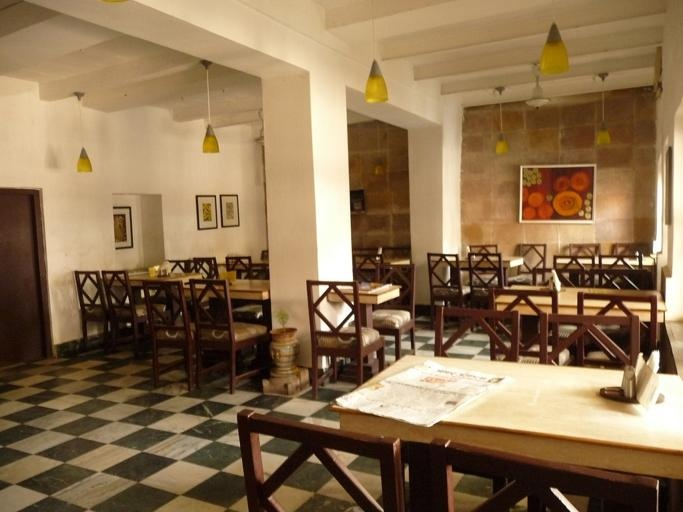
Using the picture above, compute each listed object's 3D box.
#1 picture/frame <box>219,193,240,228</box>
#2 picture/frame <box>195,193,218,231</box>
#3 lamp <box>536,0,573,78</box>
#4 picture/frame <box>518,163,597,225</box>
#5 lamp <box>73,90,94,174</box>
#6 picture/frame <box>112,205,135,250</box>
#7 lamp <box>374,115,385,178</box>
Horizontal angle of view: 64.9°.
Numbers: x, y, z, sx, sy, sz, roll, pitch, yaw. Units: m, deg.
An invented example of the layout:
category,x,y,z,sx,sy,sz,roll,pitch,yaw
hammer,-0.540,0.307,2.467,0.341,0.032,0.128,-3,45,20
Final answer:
category,x,y,z,sx,sy,sz,roll,pitch,yaw
picture/frame,-2.128,-0.862,10.166,0.059,0.758,0.702,0,1,33
picture/frame,-2.431,-0.787,9.616,0.057,0.722,0.665,5,9,36
lamp,1.523,-1.494,3.846,0.184,0.394,0.367,0,8,20
picture/frame,3.749,-1.086,9.223,1.065,0.864,0.076,5,11,30
lamp,-3.472,-1.653,7.186,0.215,1.043,0.810,-6,9,-24
picture/frame,-3.541,-0.466,8.721,0.056,0.787,0.722,5,5,19
lamp,0.700,-2.063,10.285,0.206,1.027,0.102,5,11,42
